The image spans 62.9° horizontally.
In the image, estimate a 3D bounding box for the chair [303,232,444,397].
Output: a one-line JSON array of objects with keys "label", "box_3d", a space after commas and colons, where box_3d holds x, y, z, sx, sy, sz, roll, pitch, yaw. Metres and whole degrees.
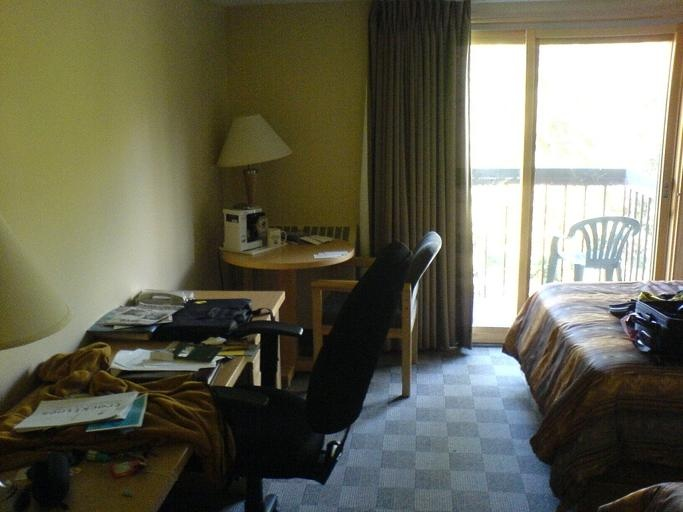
[{"label": "chair", "box_3d": [0.254, 0.331, 3.963, 0.989, 1.299, 0.932, 1, 6, 7]}]

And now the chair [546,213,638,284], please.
[{"label": "chair", "box_3d": [1.880, -0.146, 4.443, 0.565, 0.758, 0.521, -1, 14, -6]}]

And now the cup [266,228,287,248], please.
[{"label": "cup", "box_3d": [-0.463, -0.126, 3.933, 0.143, 0.140, 0.100, -7, 13, -24]}]

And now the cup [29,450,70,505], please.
[{"label": "cup", "box_3d": [-0.887, 0.685, 1.712, 0.118, 0.107, 0.178, -10, 17, -29]}]

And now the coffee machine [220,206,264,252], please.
[{"label": "coffee machine", "box_3d": [-0.630, -0.203, 3.781, 0.272, 0.323, 0.325, 2, 8, 13]}]
